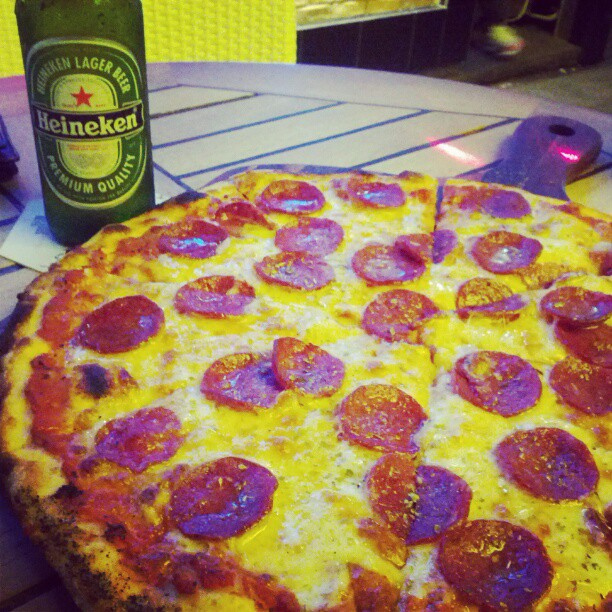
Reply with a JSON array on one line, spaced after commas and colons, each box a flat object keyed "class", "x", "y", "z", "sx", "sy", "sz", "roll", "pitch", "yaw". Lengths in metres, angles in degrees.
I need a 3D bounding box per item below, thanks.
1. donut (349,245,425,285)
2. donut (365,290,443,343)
[{"class": "donut", "x": 0.200, "y": -0.096, "z": 1.529, "sx": 0.139, "sy": 0.018, "sz": 0.097, "roll": 15, "pitch": 43, "yaw": 17}, {"class": "donut", "x": 0.205, "y": 0.017, "z": 1.405, "sx": 0.120, "sy": 0.019, "sz": 0.117, "roll": -28, "pitch": 45, "yaw": -34}]
